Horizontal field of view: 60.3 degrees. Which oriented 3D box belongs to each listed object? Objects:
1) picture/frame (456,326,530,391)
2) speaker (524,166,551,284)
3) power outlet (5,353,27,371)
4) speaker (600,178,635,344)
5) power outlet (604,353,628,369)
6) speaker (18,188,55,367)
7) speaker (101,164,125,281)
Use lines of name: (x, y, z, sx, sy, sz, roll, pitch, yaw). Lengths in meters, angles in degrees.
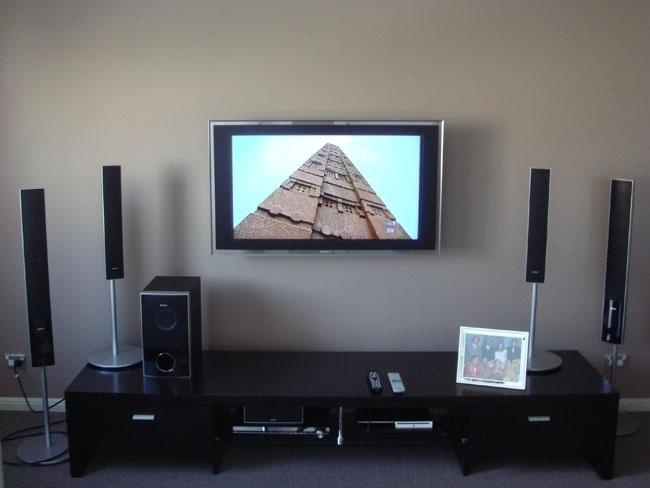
picture/frame: (0.998, 0.699, 3.356, 0.324, 0.289, 0.038, 3, -6, 6)
speaker: (1.318, -0.111, 3.491, 0.119, 0.712, 0.195, 3, 10, 20)
power outlet: (-2.054, 0.770, 3.702, 0.142, 0.143, 0.052, 3, 16, 16)
speaker: (1.834, 0.122, 3.525, 0.122, 1.041, 0.164, 4, 10, 25)
power outlet: (1.903, 0.760, 3.677, 0.132, 0.099, 0.045, 3, 10, 12)
speaker: (-1.738, 0.208, 3.372, 0.154, 1.068, 0.170, -6, 11, -27)
speaker: (-1.330, -0.129, 3.489, 0.134, 0.705, 0.055, -5, 10, -26)
